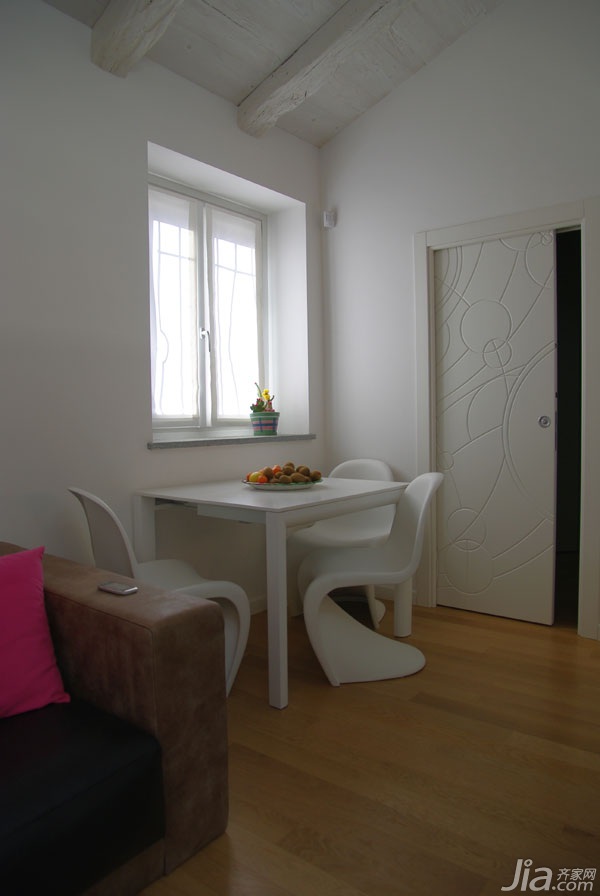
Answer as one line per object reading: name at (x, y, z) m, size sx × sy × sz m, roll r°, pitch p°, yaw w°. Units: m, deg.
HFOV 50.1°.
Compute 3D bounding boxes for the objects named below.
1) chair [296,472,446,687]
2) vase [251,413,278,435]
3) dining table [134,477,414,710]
chair at (0.250, 0.511, 2.622) m, size 0.614 × 0.975 × 0.531 m, roll 4°, pitch 0°, yaw -2°
vase at (-0.177, -0.128, 3.255) m, size 0.109 × 0.098 × 0.111 m, roll 3°, pitch 4°, yaw 41°
dining table at (-0.071, 0.348, 2.440) m, size 0.732 × 0.639 × 0.733 m, roll 2°, pitch 5°, yaw 33°
